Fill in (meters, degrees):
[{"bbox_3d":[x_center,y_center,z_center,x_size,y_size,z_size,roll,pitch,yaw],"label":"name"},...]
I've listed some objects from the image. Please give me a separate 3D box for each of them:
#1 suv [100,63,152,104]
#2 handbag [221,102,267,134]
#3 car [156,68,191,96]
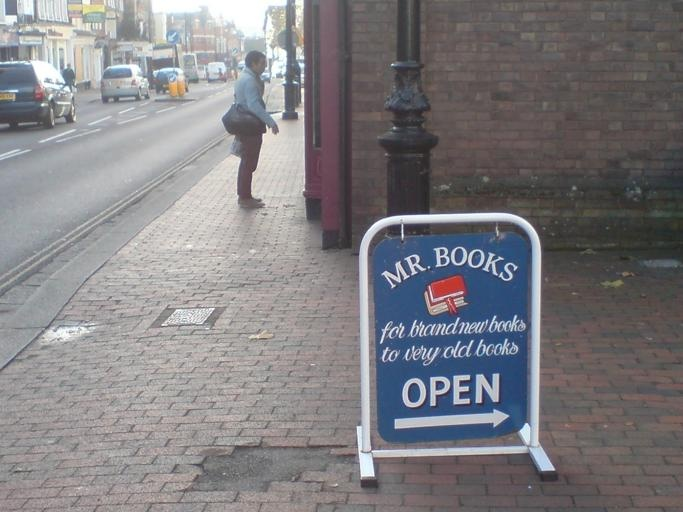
[{"bbox_3d":[-11.400,-9.174,45.450,1.799,1.158,3.319,0,11,1],"label":"suv"},{"bbox_3d":[-1.394,-1.939,12.248,0.637,0.465,0.388,-1,21,0],"label":"handbag"},{"bbox_3d":[-10.420,-10.530,51.801,2.041,1.326,2.970,0,16,1],"label":"car"}]
